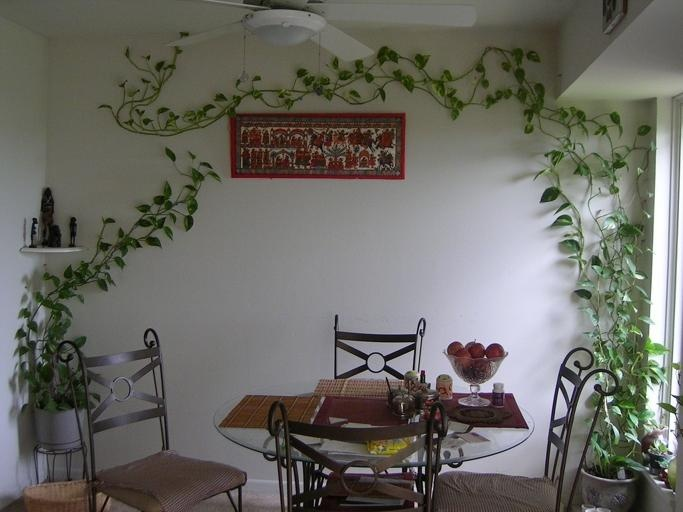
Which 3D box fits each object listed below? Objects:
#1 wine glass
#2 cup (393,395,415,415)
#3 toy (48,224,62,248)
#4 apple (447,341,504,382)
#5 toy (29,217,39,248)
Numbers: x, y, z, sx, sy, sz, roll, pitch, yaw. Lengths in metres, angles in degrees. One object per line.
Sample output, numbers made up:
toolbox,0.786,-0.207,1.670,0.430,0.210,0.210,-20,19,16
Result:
wine glass,0.688,0.601,2.958,0.291,0.245,0.302,-6,-6,38
cup,0.307,0.740,2.795,0.095,0.100,0.071,9,-11,-37
toy,-2.008,-0.140,3.969,0.084,0.159,0.121,1,-2,-28
apple,0.688,0.562,2.903,0.272,0.228,0.182,1,-2,-21
toy,-2.133,-0.168,3.928,0.051,0.206,0.107,1,-2,-25
